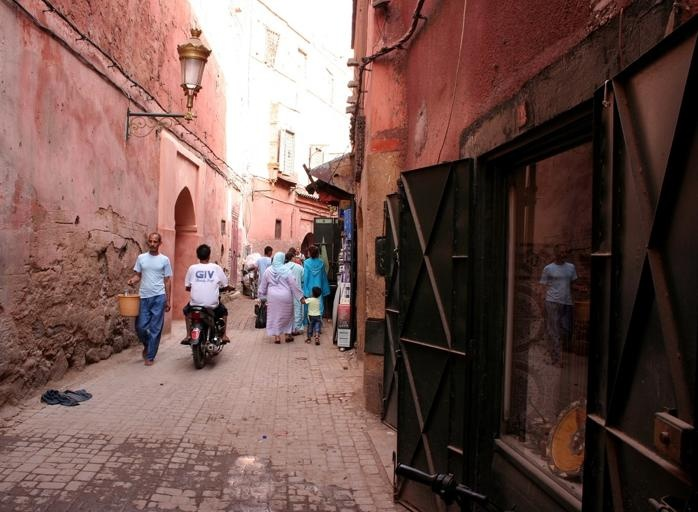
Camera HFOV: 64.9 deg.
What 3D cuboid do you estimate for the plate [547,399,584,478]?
[{"bbox_3d":[1.444,1.196,3.610,0.171,0.470,0.456,3,2,-2],"label":"plate"}]

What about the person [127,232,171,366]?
[{"bbox_3d":[-3.019,0.670,8.333,0.578,2.012,0.588,2,2,-22],"label":"person"}]

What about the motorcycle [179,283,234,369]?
[{"bbox_3d":[-2.191,1.196,8.709,0.538,0.920,1.381,0,2,0],"label":"motorcycle"}]

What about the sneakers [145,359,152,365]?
[{"bbox_3d":[-3.023,1.623,8.285,0.119,0.080,0.115,3,2,-24],"label":"sneakers"}]

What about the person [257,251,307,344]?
[{"bbox_3d":[-1.348,0.840,10.923,0.841,1.797,0.633,3,2,-11],"label":"person"}]

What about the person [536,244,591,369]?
[{"bbox_3d":[1.489,0.360,3.786,0.118,0.777,0.423,2,2,-14],"label":"person"}]
